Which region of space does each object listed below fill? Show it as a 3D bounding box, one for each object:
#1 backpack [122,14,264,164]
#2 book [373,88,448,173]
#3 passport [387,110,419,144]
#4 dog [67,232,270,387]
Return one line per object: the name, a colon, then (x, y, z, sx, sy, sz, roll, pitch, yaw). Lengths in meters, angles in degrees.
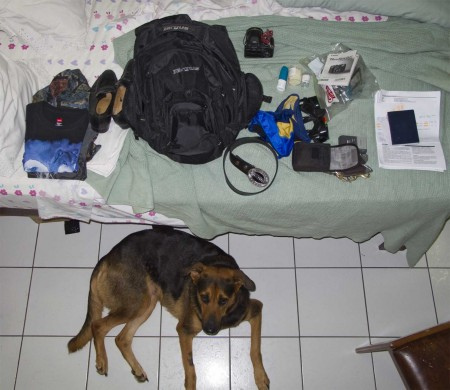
backpack: (-0.146, -0.459, 1.871, 0.588, 0.194, 0.721, -4, 91, -1)
book: (0.857, -0.305, 1.883, 0.313, 0.087, 0.398, 1, 65, 3)
passport: (0.826, -0.316, 1.888, 0.119, 0.040, 0.152, -3, 65, 1)
dog: (-0.277, 0.469, 2.132, 0.874, 0.651, 0.709, 10, 18, 31)
